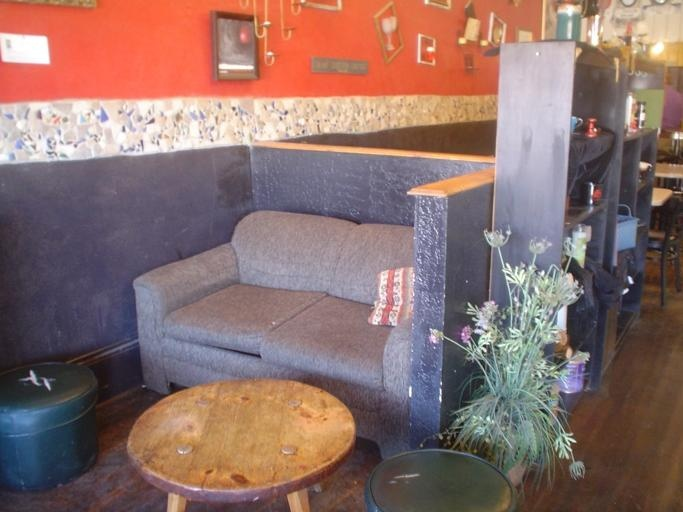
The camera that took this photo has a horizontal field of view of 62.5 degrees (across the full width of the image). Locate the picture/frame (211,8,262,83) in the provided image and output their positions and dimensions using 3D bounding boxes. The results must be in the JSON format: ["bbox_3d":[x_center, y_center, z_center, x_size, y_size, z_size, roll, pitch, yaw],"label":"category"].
[{"bbox_3d":[-0.718,-1.417,3.806,0.032,0.433,0.433,17,24,32],"label":"picture/frame"}]

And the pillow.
[{"bbox_3d":[0.286,0.225,3.220,0.248,0.278,0.293,1,17,10],"label":"pillow"}]

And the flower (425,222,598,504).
[{"bbox_3d":[0.851,0.569,2.611,0.595,0.991,0.656,16,2,-21],"label":"flower"}]
